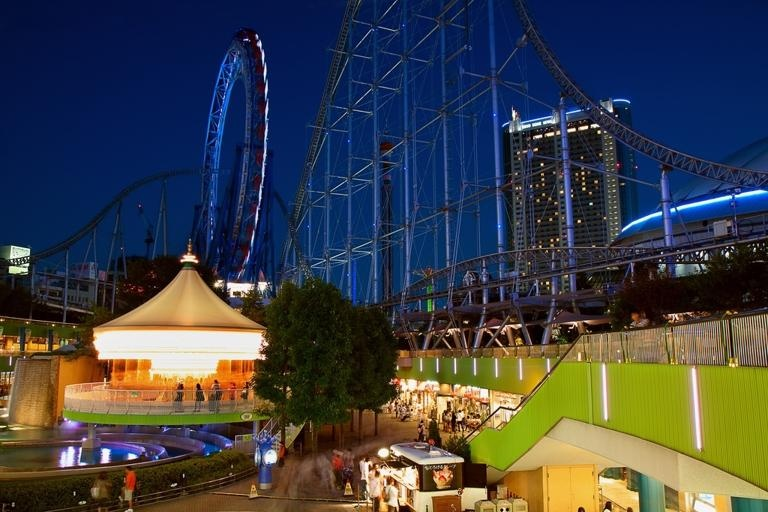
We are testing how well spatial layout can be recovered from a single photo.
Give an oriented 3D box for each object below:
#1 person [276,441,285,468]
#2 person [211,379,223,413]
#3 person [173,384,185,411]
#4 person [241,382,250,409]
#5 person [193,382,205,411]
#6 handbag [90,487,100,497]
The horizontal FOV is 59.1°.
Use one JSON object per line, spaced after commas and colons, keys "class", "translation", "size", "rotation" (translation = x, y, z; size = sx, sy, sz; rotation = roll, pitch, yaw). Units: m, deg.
{"class": "person", "translation": [-4.939, 9.547, 32.615], "size": [0.328, 1.078, 1.237], "rotation": [2, -12, -10]}
{"class": "person", "translation": [-8.121, 6.924, 32.827], "size": [0.432, 1.231, 1.053], "rotation": [2, -12, -13]}
{"class": "person", "translation": [-9.763, 6.818, 32.407], "size": [0.380, 1.248, 0.891], "rotation": [3, -12, -17]}
{"class": "person", "translation": [-6.788, 6.791, 33.405], "size": [0.411, 1.105, 0.781], "rotation": [1, -12, -9]}
{"class": "person", "translation": [-8.909, 6.853, 32.836], "size": [0.474, 1.302, 1.334], "rotation": [3, -12, -14]}
{"class": "handbag", "translation": [-10.385, 8.563, 24.423], "size": [0.287, 0.412, 0.403], "rotation": [5, -13, -23]}
